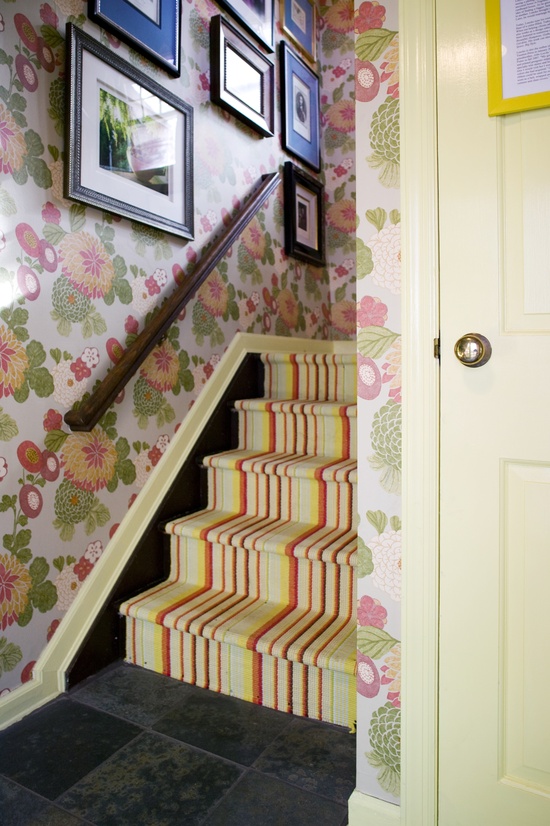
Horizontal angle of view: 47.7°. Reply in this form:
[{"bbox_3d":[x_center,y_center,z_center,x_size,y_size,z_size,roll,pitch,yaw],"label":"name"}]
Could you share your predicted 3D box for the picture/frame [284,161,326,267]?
[{"bbox_3d":[0.138,-1.017,3.172,0.053,0.603,0.572,-4,4,23],"label":"picture/frame"}]
